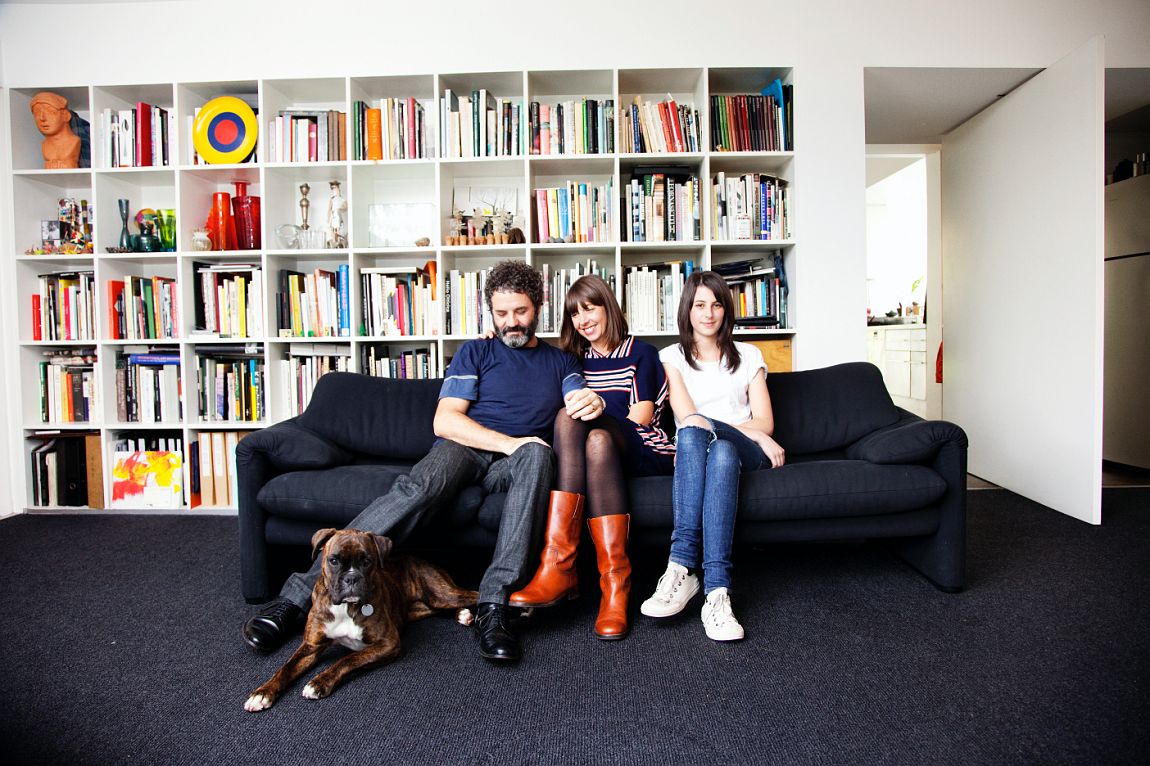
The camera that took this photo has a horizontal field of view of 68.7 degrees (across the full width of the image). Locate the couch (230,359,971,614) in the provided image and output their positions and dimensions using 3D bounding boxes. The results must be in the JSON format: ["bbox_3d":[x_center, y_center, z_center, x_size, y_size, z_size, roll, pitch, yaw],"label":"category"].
[{"bbox_3d":[-0.531,0.411,3.958,2.217,0.796,0.774,-1,18,26],"label":"couch"}]

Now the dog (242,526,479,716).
[{"bbox_3d":[-0.839,0.888,3.534,0.451,0.440,1.012,9,15,24],"label":"dog"}]

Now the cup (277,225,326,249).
[{"bbox_3d":[-1.729,-0.915,5.306,0.228,0.169,0.156,1,4,-6],"label":"cup"}]

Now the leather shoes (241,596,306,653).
[{"bbox_3d":[-1.264,1.026,3.568,0.127,0.117,0.318,30,-4,5],"label":"leather shoes"}]

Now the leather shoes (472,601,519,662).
[{"bbox_3d":[-0.325,1.046,3.507,0.186,0.215,0.207,-4,6,-6],"label":"leather shoes"}]

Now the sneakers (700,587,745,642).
[{"bbox_3d":[0.625,0.992,3.587,0.177,0.210,0.117,-3,6,10],"label":"sneakers"}]

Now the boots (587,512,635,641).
[{"bbox_3d":[0.159,0.830,3.699,0.180,0.506,0.306,-3,6,3],"label":"boots"}]

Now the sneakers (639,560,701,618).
[{"bbox_3d":[0.438,0.893,3.744,0.137,0.171,0.356,10,20,41],"label":"sneakers"}]

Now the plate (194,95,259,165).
[{"bbox_3d":[-2.178,-1.589,5.251,0.406,0.419,0.096,-3,6,6],"label":"plate"}]
